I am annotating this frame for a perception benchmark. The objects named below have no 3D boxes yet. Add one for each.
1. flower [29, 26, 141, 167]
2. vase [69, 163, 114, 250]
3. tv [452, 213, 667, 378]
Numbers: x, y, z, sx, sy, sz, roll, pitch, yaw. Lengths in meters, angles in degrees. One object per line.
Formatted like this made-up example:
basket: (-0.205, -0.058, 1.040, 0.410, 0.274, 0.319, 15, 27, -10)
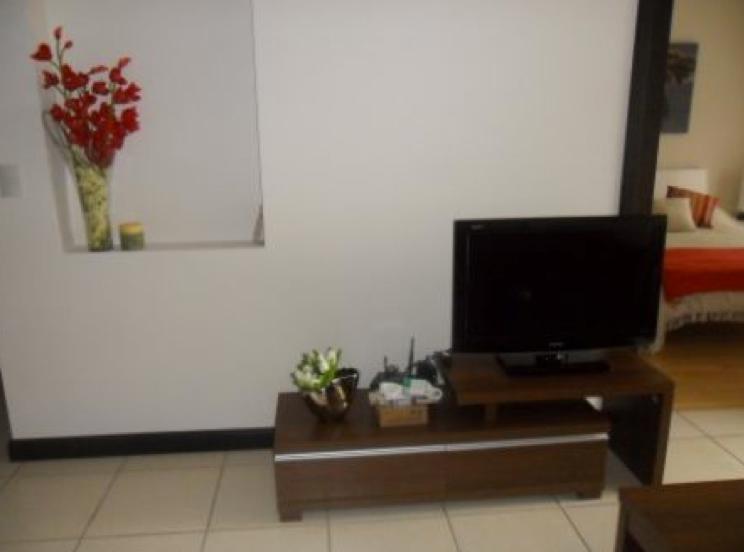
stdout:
flower: (-1.441, -0.925, 2.980, 0.531, 0.697, 0.320, -4, 17, -5)
vase: (-1.435, -0.360, 3.028, 0.172, 0.459, 0.090, -10, 19, -25)
tv: (0.934, 0.089, 2.935, 0.805, 0.579, 0.216, -1, 20, -2)
